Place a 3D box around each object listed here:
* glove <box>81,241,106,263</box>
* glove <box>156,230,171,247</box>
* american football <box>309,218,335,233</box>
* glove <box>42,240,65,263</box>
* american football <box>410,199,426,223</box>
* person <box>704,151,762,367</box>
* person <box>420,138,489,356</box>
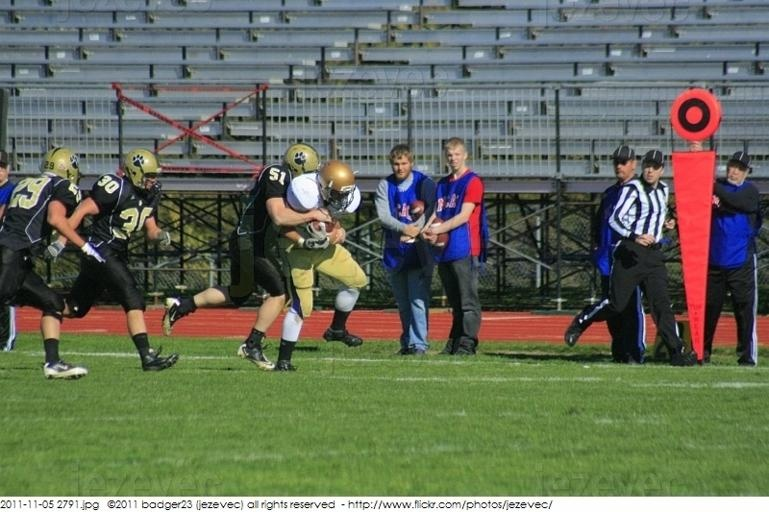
[{"bbox_3d":[-4.205,-0.038,25.723,0.305,0.239,0.124,28,-55,-19],"label":"glove"},{"bbox_3d":[-3.277,-0.247,26.355,0.190,0.134,0.421,2,1,-5],"label":"glove"},{"bbox_3d":[-0.913,-0.427,25.837,0.268,0.156,0.205,-10,-4,31],"label":"american football"},{"bbox_3d":[-4.843,-0.072,26.173,0.304,0.358,0.143,22,-19,16],"label":"glove"},{"bbox_3d":[0.490,-0.684,27.334,0.297,0.326,0.282,2,4,9],"label":"american football"},{"bbox_3d":[5.266,0.025,27.069,0.799,2.350,0.664,1,0,10],"label":"person"},{"bbox_3d":[1.105,-0.142,27.285,0.844,2.642,0.667,1,0,2],"label":"person"}]
